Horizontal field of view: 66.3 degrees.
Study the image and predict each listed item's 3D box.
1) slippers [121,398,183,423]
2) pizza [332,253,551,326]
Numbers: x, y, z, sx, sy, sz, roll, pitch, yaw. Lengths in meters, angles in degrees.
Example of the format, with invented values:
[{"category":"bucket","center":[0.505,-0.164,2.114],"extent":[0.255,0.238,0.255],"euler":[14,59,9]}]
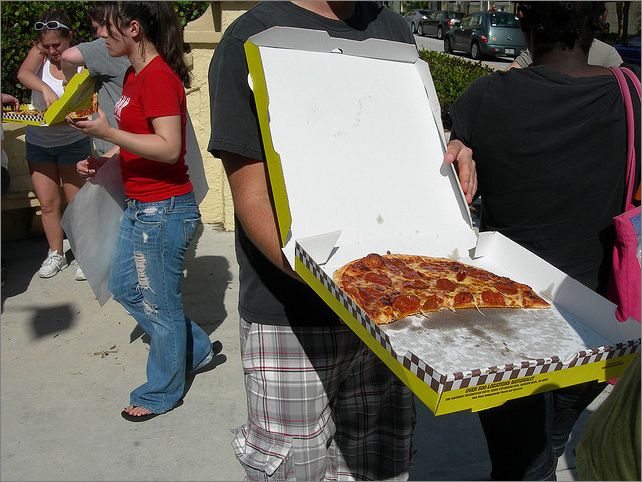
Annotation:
[{"category":"slippers","center":[-1.223,1.201,3.463],"extent":[0.331,0.095,0.135],"euler":[-8,50,-16]},{"category":"pizza","center":[0.365,0.159,1.697],"extent":[0.428,0.057,0.346],"euler":[3,22,-3]}]
